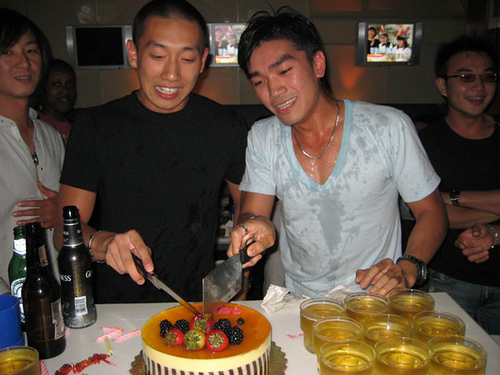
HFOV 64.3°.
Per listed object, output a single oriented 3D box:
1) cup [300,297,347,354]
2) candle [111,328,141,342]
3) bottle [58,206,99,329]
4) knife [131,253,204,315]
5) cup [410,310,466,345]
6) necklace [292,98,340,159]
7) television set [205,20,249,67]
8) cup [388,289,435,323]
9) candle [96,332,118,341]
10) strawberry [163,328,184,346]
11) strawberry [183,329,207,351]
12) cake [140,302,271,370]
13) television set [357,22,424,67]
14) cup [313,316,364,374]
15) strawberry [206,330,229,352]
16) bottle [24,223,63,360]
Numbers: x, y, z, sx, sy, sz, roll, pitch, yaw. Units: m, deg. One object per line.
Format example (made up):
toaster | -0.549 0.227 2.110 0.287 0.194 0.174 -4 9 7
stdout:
cup | 0.302 0.563 1.737 0.221 0.196 0.196 2 13 31
candle | -0.540 0.658 1.773 0.155 0.009 0.035 -9 23 -25
bottle | -0.755 0.352 1.751 0.154 0.575 0.153 -1 11 0
knife | -0.445 0.500 2.078 0.055 0.102 0.671 -42 40 -6
cup | 0.756 0.523 1.577 0.144 0.102 0.145 -11 17 3
necklace | 0.369 -0.277 2.114 0.222 0.334 0.028 -27 51 -8
television set | -0.382 -2.203 6.130 0.777 0.690 0.399 -11 19 -27
cup | 0.705 0.492 1.734 0.147 0.105 0.149 0 1 0
candle | -0.637 0.659 1.756 0.103 0.015 0.024 -9 14 -42
strawberry | -0.283 0.566 1.493 0.062 0.058 0.070 -31 -12 -7
strawberry | -0.206 0.569 1.477 0.076 0.071 0.074 0 43 -23
cake | -0.169 0.594 1.578 0.499 0.172 0.380 -3 10 -11
television set | 2.154 -2.251 6.136 0.676 0.461 0.090 1 16 0
cup | 0.330 0.596 1.612 0.224 0.162 0.195 -7 21 -18
strawberry | -0.123 0.578 1.499 0.084 0.064 0.065 -1 10 -1
bottle | -0.855 0.418 1.618 0.132 0.572 0.086 -7 12 -29
